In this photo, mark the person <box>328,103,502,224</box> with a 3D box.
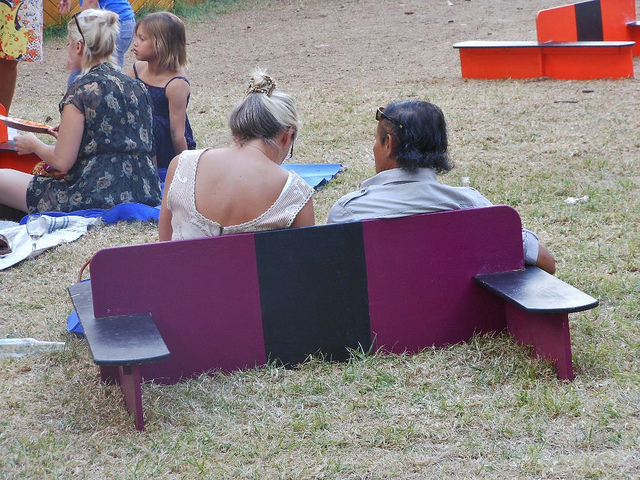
[{"bbox_3d":[0.551,-0.406,5.572,1.334,0.819,0.568,-4,10,-30],"label":"person"}]

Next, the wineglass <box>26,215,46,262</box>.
[{"bbox_3d":[-2.087,0.037,6.908,0.176,0.180,0.453,-7,40,-12],"label":"wineglass"}]

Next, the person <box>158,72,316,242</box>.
[{"bbox_3d":[-0.416,-0.332,5.488,0.944,1.273,0.860,4,20,1],"label":"person"}]

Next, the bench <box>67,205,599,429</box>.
[{"bbox_3d":[0.024,0.315,5.151,2.635,0.845,0.606,-4,12,-8],"label":"bench"}]
